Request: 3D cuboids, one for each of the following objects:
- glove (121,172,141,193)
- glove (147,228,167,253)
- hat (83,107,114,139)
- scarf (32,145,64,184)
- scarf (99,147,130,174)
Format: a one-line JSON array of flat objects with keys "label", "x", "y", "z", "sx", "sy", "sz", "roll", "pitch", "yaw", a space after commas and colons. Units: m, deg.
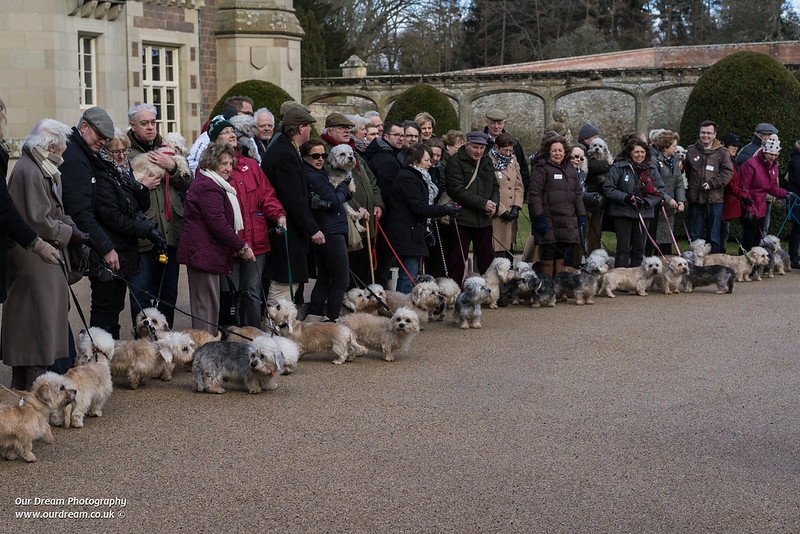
[{"label": "glove", "x": -2.947, "y": -0.948, "z": 10.642, "sx": 0.084, "sy": 0.157, "sz": 0.192, "roll": -34, "pitch": -30, "yaw": 8}, {"label": "glove", "x": -2.660, "y": -0.291, "z": 10.666, "sx": 0.097, "sy": 0.268, "sz": 0.186, "roll": -21, "pitch": 28, "yaw": -22}, {"label": "hat", "x": -3.173, "y": -1.568, "z": 10.184, "sx": 0.352, "sy": 0.182, "sz": 0.254, "roll": 40, "pitch": -10, "yaw": 36}, {"label": "scarf", "x": -3.414, "y": -1.024, "z": 9.459, "sx": 0.233, "sy": 0.267, "sz": 0.295, "roll": -14, "pitch": -37, "yaw": 32}, {"label": "scarf", "x": -3.074, "y": -1.149, "z": 10.500, "sx": 0.258, "sy": 0.110, "sz": 0.201, "roll": 37, "pitch": 12, "yaw": 33}]
